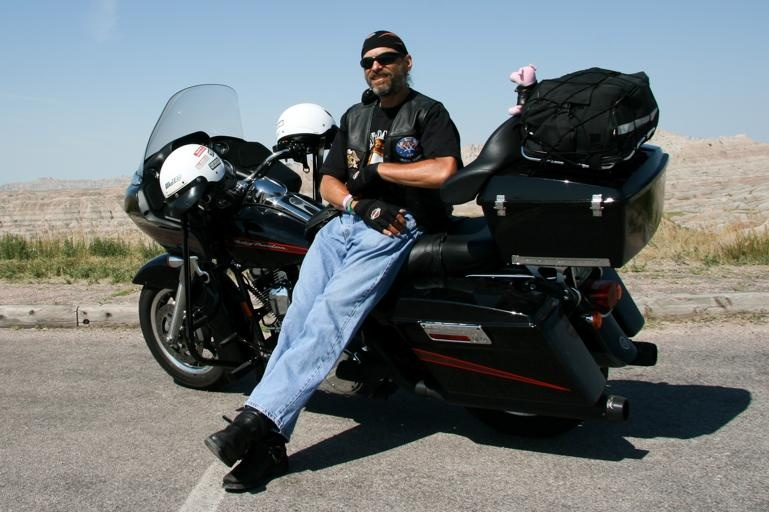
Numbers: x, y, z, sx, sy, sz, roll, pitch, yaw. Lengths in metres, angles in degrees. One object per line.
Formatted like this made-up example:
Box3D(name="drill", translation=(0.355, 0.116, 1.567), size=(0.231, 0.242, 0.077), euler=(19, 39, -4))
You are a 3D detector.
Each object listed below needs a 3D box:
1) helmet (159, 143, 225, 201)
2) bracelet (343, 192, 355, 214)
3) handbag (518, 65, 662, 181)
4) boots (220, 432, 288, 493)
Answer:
Box3D(name="helmet", translation=(-1.447, -0.653, 4.152), size=(0.562, 0.345, 0.359), euler=(-2, 7, 2))
Box3D(name="bracelet", translation=(-0.259, -0.373, 3.925), size=(0.099, 0.110, 0.048), euler=(-11, -21, 43))
Box3D(name="handbag", translation=(1.210, -0.822, 3.296), size=(0.783, 0.622, 0.437), euler=(0, 9, 15))
Box3D(name="boots", translation=(-0.845, 1.336, 3.696), size=(0.293, 0.202, 0.576), euler=(8, 8, 29))
